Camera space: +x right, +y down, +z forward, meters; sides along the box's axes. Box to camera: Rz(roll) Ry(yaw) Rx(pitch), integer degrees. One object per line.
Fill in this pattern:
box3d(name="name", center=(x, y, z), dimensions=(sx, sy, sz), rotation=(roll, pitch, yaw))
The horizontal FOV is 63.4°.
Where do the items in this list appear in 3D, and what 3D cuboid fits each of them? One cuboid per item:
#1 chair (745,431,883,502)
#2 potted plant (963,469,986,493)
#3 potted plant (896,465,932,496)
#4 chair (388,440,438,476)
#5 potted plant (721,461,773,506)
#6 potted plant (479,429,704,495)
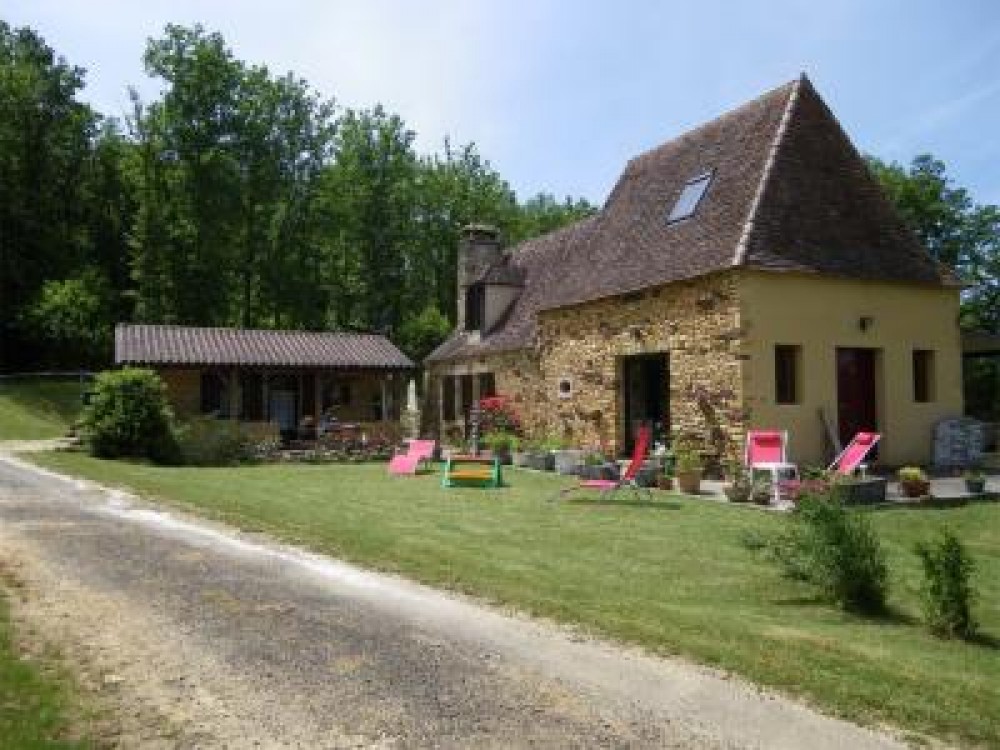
box3d(name="chair", center=(6.236, 1.950, 16.592), dimensions=(2.580, 1.676, 1.449), rotation=(0, -2, 33))
box3d(name="potted plant", center=(9.414, 2.103, 16.104), dimensions=(0.417, 0.411, 0.445), rotation=(1, -6, -10))
box3d(name="potted plant", center=(8.085, 2.103, 15.928), dimensions=(0.660, 0.689, 0.520), rotation=(1, -1, 19))
box3d(name="chair", center=(-2.377, 2.203, 21.465), dimensions=(0.660, 0.659, 1.225), rotation=(-6, -5, 17))
box3d(name="potted plant", center=(5.043, 2.238, 16.244), dimensions=(0.595, 0.520, 1.044), rotation=(3, -10, -13))
box3d(name="potted plant", center=(2.759, 1.950, 17.958), dimensions=(2.873, 1.751, 1.161), rotation=(3, -5, -3))
